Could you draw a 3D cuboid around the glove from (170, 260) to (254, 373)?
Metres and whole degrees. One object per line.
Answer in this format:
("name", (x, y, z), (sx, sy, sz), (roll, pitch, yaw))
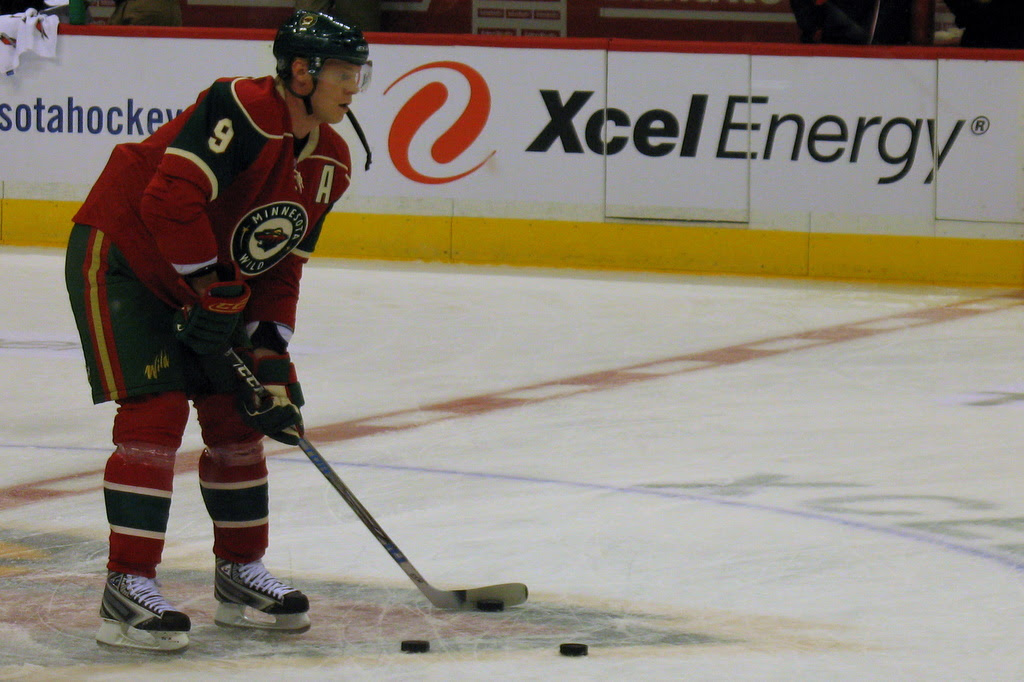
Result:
("glove", (-0.935, -0.070, 5.189), (0.223, 0.308, 0.177), (-5, 15, -21))

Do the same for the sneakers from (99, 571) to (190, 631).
("sneakers", (-1.124, 0.794, 5.135), (0.197, 0.169, 0.214), (-8, 15, -33))

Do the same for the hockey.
("hockey", (-0.503, 0.528, 6.152), (1.380, 0.161, 0.200), (34, 23, 20))

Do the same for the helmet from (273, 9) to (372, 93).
("helmet", (-0.559, -0.894, 5.234), (0.327, 0.217, 0.238), (-1, 6, 0))

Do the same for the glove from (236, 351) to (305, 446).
("glove", (-0.756, 0.174, 5.264), (0.248, 0.274, 0.125), (12, -37, -35))

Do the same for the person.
("person", (-0.898, -0.045, 5.247), (0.946, 1.926, 0.672), (-5, 16, -20))
